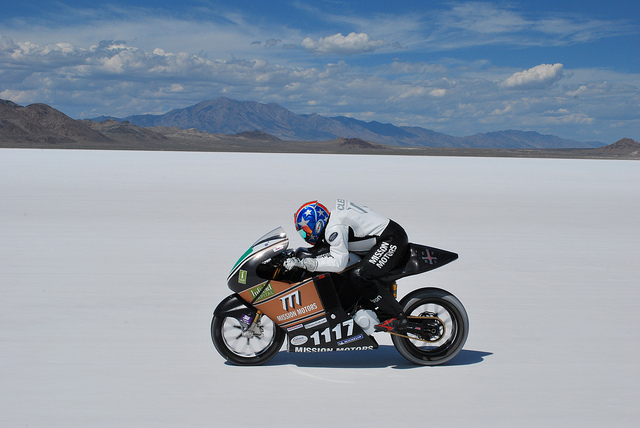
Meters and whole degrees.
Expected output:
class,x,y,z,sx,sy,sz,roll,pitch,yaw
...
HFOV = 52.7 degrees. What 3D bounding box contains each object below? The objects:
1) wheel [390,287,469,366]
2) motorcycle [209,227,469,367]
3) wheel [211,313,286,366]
class,x,y,z,sx,sy,sz,roll,pitch,yaw
wheel,1.491,1.621,8.941,1.324,0.304,0.987,-10,90,-4
motorcycle,0.276,1.213,8.985,3.943,0.876,1.560,-4,77,25
wheel,-0.996,1.770,8.916,1.106,0.180,0.764,0,93,0
